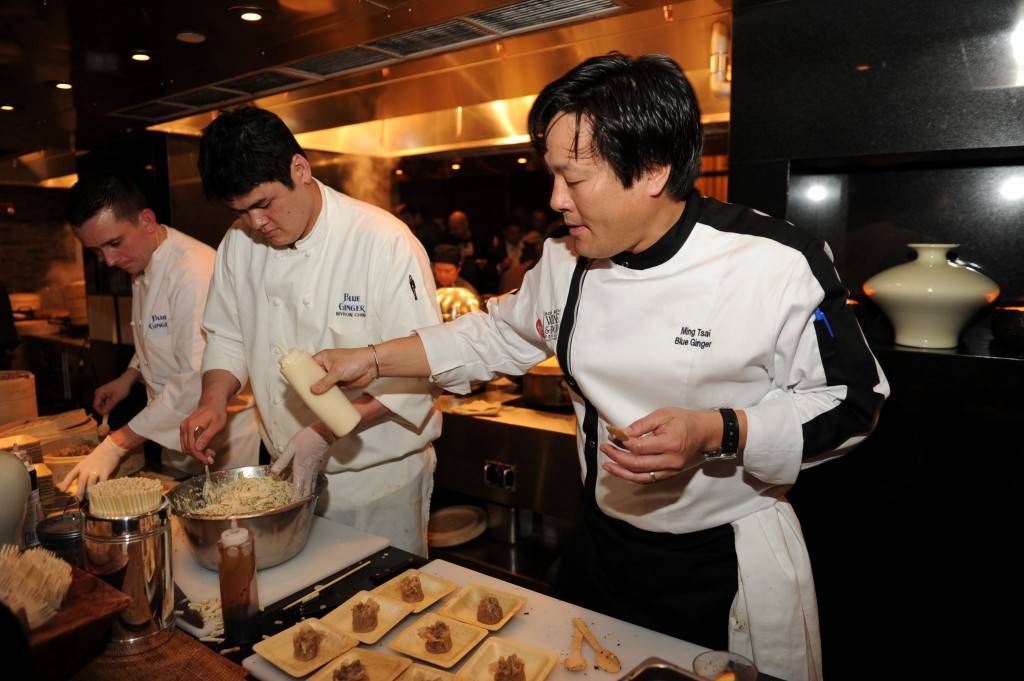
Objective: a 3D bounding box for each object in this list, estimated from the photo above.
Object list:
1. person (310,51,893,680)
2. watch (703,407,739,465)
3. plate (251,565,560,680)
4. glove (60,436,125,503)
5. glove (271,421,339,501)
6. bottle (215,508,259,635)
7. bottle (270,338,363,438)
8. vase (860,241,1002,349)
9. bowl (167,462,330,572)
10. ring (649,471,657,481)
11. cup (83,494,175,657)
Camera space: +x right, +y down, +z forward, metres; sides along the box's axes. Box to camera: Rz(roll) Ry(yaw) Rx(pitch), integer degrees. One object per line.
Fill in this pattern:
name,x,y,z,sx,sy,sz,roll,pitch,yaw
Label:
person,0.343,0.123,1.965,1.227,1.777,0.573,4,15,30
watch,0.545,0.224,1.838,0.068,0.094,0.102,-16,-19,6
plate,-0.464,0.745,1.879,0.304,0.056,0.435,8,12,42
glove,-1.488,0.442,2.469,0.152,0.141,0.335,-4,12,-4
glove,-0.634,0.390,2.233,0.160,0.237,0.069,26,-9,23
bottle,-0.722,0.640,1.831,0.091,0.282,0.093,-4,13,1
bottle,-0.554,0.154,2.054,0.141,0.366,0.109,-42,5,-2
vase,1.513,-0.164,2.515,0.469,0.363,0.453,-6,10,-33
bowl,-0.828,0.591,2.122,0.427,0.183,0.419,-3,-8,0
ring,0.358,0.340,1.748,0.024,0.021,0.022,-1,-11,0
cup,-0.996,0.630,1.830,0.214,0.356,0.252,-9,13,-24
